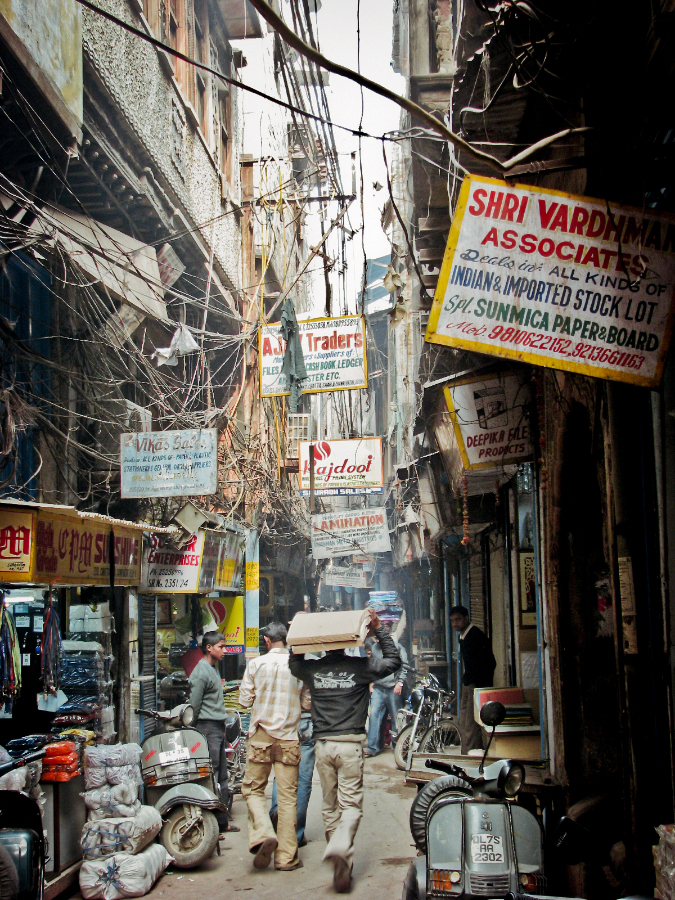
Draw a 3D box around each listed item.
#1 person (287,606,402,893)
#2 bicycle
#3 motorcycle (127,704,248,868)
[{"bbox_3d":[0.048,1.952,7.478,0.821,1.606,0.792,0,-10,1],"label":"person"},{"bbox_3d":[0.943,3.124,11.965,0.762,1.029,1.532,8,-20,11],"label":"bicycle"},{"bbox_3d":[-1.189,2.544,7.976,0.623,1.121,0.956,1,-11,-8],"label":"motorcycle"}]
